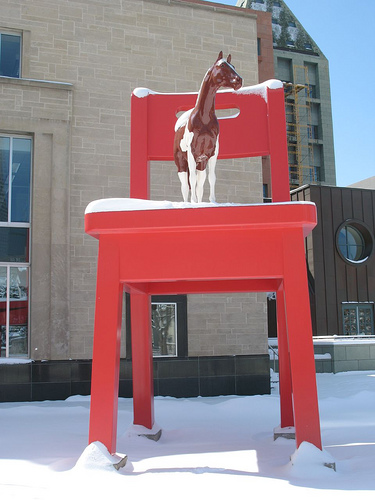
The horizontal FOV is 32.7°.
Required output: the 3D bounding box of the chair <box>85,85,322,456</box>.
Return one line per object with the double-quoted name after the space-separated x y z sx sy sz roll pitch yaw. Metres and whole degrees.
0.187 0.024 5.607 1.789 3.212 1.731 -1 -6 8 "chair"
